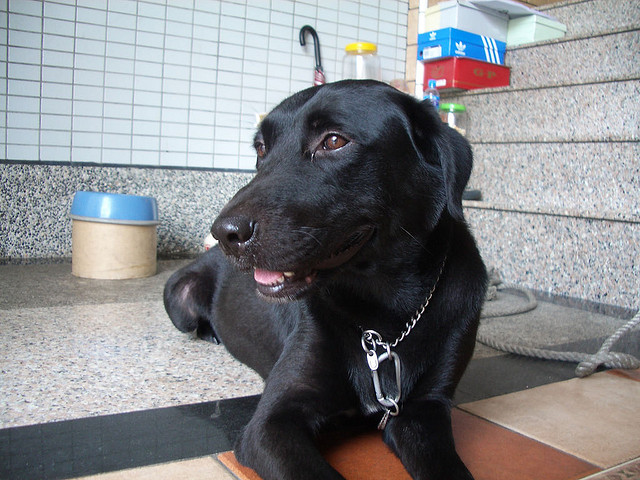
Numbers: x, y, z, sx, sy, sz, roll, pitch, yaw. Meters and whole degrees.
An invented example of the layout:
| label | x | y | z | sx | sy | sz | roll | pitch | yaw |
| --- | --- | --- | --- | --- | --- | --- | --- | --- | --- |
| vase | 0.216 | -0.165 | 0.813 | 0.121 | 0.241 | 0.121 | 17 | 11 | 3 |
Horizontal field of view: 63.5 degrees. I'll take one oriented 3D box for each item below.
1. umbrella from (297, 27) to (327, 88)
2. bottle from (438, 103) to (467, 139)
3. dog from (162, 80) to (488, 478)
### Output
| label | x | y | z | sx | sy | sz | roll | pitch | yaw |
| --- | --- | --- | --- | --- | --- | --- | --- | --- | --- |
| umbrella | -0.031 | -1.487 | 4.140 | 0.258 | 0.468 | 0.527 | -1 | 12 | -8 |
| bottle | 0.978 | -0.864 | 3.846 | 0.184 | 0.288 | 0.177 | 3 | 5 | 0 |
| dog | 0.112 | 0.076 | 1.428 | 0.766 | 1.017 | 0.580 | 2 | 12 | 6 |
